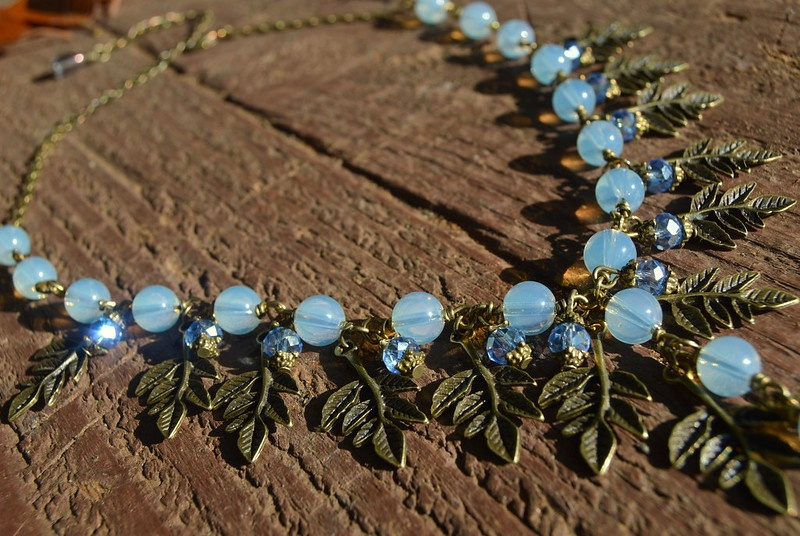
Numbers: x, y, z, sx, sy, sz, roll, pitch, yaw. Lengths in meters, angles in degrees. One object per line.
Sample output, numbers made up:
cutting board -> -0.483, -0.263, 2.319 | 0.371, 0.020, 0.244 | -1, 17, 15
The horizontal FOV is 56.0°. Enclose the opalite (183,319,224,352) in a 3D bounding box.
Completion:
opalite -> -0.806, 0.268, 3.147 | 0.138, 0.115, 0.112 | 22, 27, 7

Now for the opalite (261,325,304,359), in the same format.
opalite -> -0.481, 0.299, 3.064 | 0.128, 0.065, 0.127 | 36, 57, 19
